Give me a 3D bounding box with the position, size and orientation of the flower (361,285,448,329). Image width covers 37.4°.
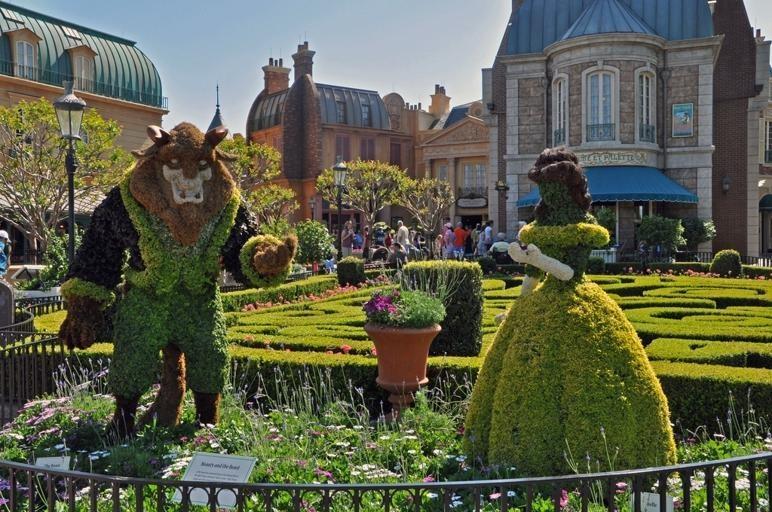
[{"bbox_3d":[0.542,0.922,20.457,1.210,0.635,1.081,10,9,-40],"label":"flower"}]

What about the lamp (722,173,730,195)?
[{"bbox_3d":[11.235,-2.339,37.619,0.273,0.562,0.281,-2,-3,15],"label":"lamp"}]

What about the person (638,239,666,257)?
[{"bbox_3d":[7.993,-0.202,34.125,0.829,0.316,0.626,0,1,39],"label":"person"}]
